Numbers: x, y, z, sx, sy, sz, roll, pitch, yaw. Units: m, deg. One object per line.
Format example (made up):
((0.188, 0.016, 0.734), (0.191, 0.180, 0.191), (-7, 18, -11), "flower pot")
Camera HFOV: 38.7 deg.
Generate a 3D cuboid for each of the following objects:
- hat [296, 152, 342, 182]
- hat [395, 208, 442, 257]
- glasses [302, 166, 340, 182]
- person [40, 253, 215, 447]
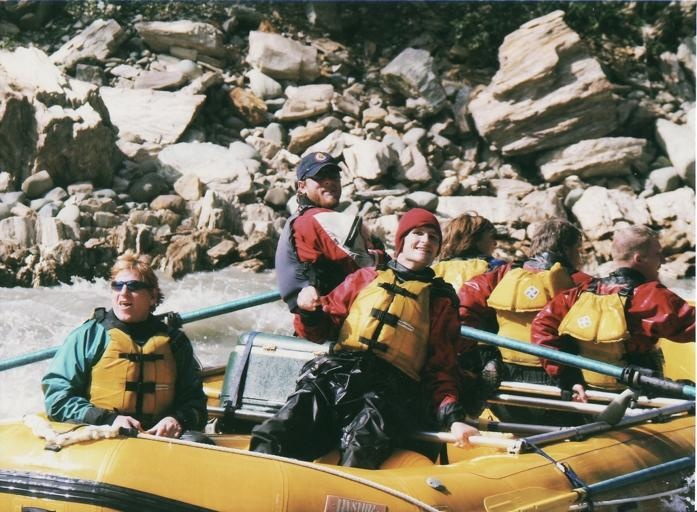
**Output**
((-0.293, -0.776, 8.450), (0.242, 0.155, 0.316), (-1, -10, -28), "hat")
((0.547, -0.199, 7.921), (0.328, 0.332, 0.360), (6, -15, -9), "hat")
((-0.180, -0.686, 8.362), (0.155, 0.074, 0.211), (-2, -9, -30), "glasses")
((-1.654, 0.921, 7.732), (1.215, 1.722, 1.135), (4, -7, -36), "person")
